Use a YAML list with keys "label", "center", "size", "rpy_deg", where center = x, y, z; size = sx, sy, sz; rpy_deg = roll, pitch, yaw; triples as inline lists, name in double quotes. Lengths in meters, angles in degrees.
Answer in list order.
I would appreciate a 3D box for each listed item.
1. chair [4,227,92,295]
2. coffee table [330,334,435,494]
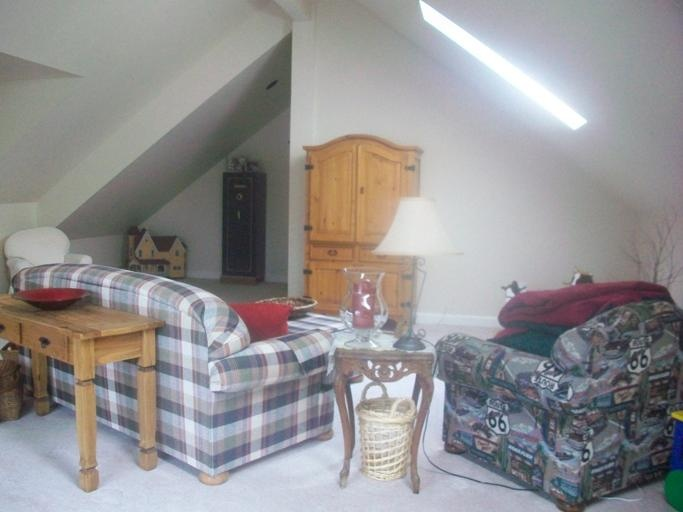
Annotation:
- label: "chair"
  center: [-2.516, 0.023, 4.620]
  size: [0.604, 0.749, 0.667]
  rpy_deg: [5, 8, 41]
- label: "coffee table"
  center: [0.220, 0.826, 2.979]
  size: [0.522, 0.783, 0.403]
  rpy_deg: [0, 1, 0]
